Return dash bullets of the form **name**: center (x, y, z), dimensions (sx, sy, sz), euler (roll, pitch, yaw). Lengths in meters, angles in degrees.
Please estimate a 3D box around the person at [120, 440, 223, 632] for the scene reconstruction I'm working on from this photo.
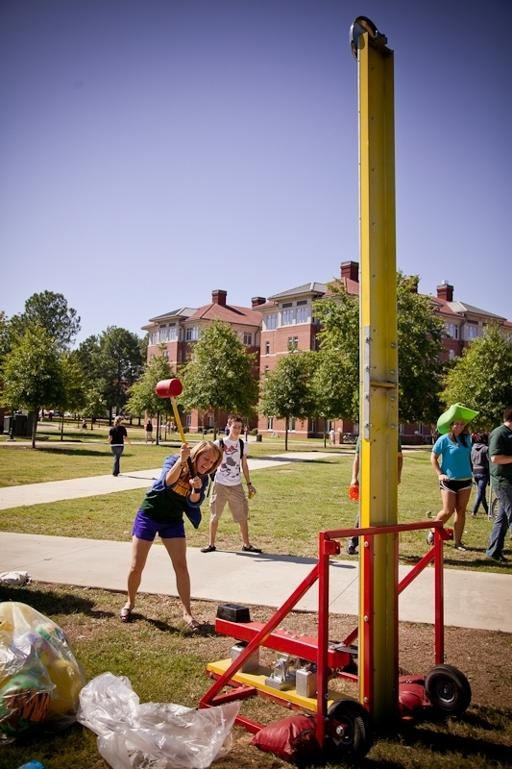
- **person**: center (-0.640, 0.970, 4.757), dimensions (0.767, 1.510, 0.740), euler (5, 1, -41)

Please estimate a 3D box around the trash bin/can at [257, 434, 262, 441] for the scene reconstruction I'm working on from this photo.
- **trash bin/can**: center (0.269, 4.554, 51.575), dimensions (0.451, 0.493, 0.447), euler (1, -5, -21)

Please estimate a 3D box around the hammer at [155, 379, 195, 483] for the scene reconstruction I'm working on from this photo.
- **hammer**: center (-0.530, 0.308, 4.204), dimensions (0.137, 0.674, 0.168), euler (-18, 7, -39)
